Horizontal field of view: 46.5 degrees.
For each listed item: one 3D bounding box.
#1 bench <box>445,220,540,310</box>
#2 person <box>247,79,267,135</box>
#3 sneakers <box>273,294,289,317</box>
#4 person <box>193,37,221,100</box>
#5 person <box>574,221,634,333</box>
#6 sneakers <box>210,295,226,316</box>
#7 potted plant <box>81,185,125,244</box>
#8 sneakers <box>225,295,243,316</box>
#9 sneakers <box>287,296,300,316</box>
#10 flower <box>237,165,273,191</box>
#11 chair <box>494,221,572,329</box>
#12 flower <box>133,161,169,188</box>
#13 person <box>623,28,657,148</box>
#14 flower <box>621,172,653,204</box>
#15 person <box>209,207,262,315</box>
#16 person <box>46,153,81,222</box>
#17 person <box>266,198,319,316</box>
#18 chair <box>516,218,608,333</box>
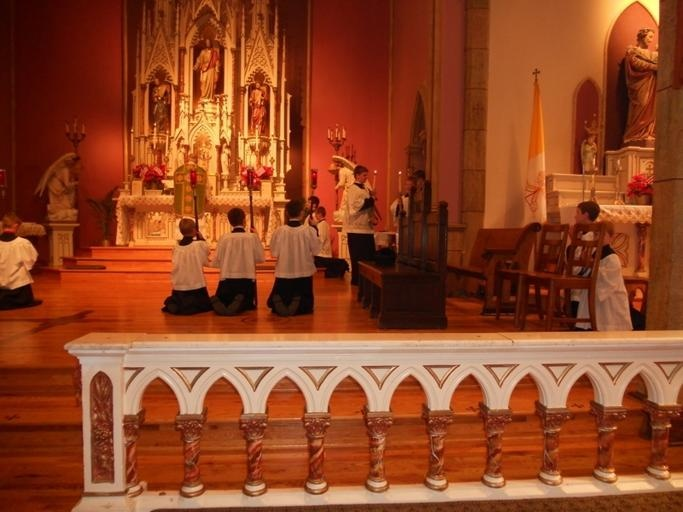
[{"bbox_3d":[1.850,0.129,10.396,0.801,1.082,1.736,0,1,-10],"label":"bench"},{"bbox_3d":[-1.621,-2.775,15.044,0.442,1.020,0.411,1,9,38],"label":"person"},{"bbox_3d":[-0.735,0.610,9.574,0.141,0.273,0.114,-20,-29,-1],"label":"sneakers"},{"bbox_3d":[-2.530,-3.508,15.066,0.514,1.111,0.433,-5,7,-8],"label":"person"},{"bbox_3d":[2.792,0.240,8.457,0.581,1.133,0.478,-2,8,20],"label":"person"},{"bbox_3d":[-1.501,0.625,9.670,0.136,0.255,0.107,-24,-10,-16],"label":"sneakers"},{"bbox_3d":[-4.467,-0.743,15.090,0.658,1.099,1.168,-7,7,-18],"label":"potted plant"},{"bbox_3d":[-1.283,0.602,9.655,0.136,0.243,0.100,18,-24,24],"label":"sneakers"},{"bbox_3d":[-0.565,0.600,9.566,0.113,0.220,0.084,15,-20,-2],"label":"sneakers"},{"bbox_3d":[-1.397,-1.311,13.359,0.646,0.344,0.653,-2,9,20],"label":"flower"},{"bbox_3d":[2.228,0.196,9.019,0.673,1.029,0.617,-6,7,-33],"label":"chair"},{"bbox_3d":[-3.435,-1.452,14.276,0.468,0.406,0.482,0,7,6],"label":"flower"},{"bbox_3d":[4.483,-2.521,11.916,0.483,1.750,0.569,-1,8,22],"label":"person"},{"bbox_3d":[4.133,-0.921,11.002,0.346,0.406,1.065,-2,7,19],"label":"flower"},{"bbox_3d":[-1.316,0.071,9.790,0.713,1.276,0.445,-10,9,-39],"label":"person"},{"bbox_3d":[-5.057,-1.229,14.465,0.695,1.230,0.518,-8,8,-26],"label":"person"},{"bbox_3d":[-0.570,0.016,9.708,0.700,1.375,0.542,-6,8,-15],"label":"person"},{"bbox_3d":[2.334,0.222,8.541,0.848,1.167,0.843,0,6,1],"label":"chair"}]
